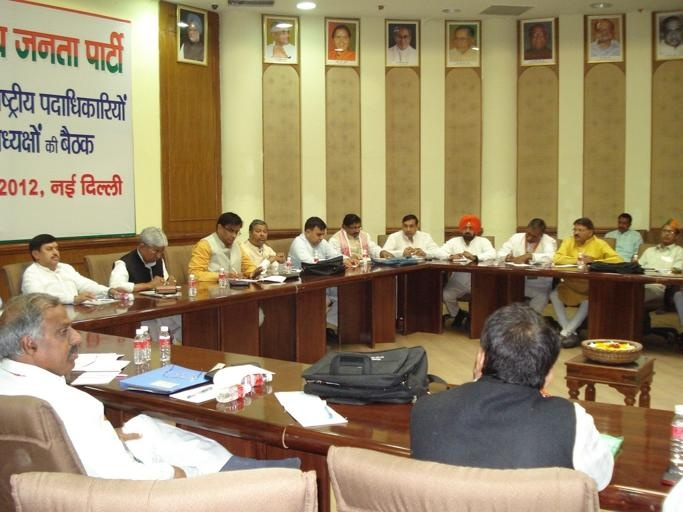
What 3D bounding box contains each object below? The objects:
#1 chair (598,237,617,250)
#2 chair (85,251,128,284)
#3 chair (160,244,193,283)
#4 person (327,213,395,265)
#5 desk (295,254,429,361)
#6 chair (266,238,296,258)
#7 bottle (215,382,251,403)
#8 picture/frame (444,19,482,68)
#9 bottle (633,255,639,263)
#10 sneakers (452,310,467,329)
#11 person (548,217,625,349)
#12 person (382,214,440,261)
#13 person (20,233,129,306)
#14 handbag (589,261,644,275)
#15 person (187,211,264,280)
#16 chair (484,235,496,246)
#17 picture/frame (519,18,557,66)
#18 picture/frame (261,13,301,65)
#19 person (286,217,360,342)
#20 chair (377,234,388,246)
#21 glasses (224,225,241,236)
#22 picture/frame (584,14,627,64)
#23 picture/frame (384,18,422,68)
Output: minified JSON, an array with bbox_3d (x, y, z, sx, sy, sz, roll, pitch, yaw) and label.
[{"bbox_3d":[3.238,-0.148,6.815,0.151,0.213,0.172,4,12,25],"label":"chair"},{"bbox_3d":[-2.096,0.091,4.942,0.267,0.331,0.292,3,4,44],"label":"chair"},{"bbox_3d":[-1.566,0.074,5.330,0.291,0.409,0.333,-2,8,-37],"label":"chair"},{"bbox_3d":[0.149,-0.153,6.765,0.668,0.638,0.913,-1,0,-28],"label":"person"},{"bbox_3d":[0.506,0.511,5.920,0.968,0.714,0.948,-12,-10,-40],"label":"desk"},{"bbox_3d":[-0.714,-0.101,6.519,0.205,0.266,0.216,-6,12,-39],"label":"chair"},{"bbox_3d":[-0.428,0.542,2.223,0.056,0.038,0.105,1,4,36],"label":"bottle"},{"bbox_3d":[1.794,-3.170,8.261,0.656,0.837,0.092,0,3,-1],"label":"picture/frame"},{"bbox_3d":[3.268,0.032,6.226,0.072,0.077,0.069,1,17,9],"label":"bottle"},{"bbox_3d":[1.432,0.772,6.764,0.105,0.134,0.306,-11,11,43],"label":"sneakers"},{"bbox_3d":[2.617,0.311,6.204,0.724,1.444,0.676,2,1,-11],"label":"person"},{"bbox_3d":[0.877,-0.060,7.069,0.726,0.860,0.551,-3,7,-12],"label":"person"},{"bbox_3d":[-2.035,0.211,4.195,0.695,0.737,0.557,-5,2,-6],"label":"person"},{"bbox_3d":[2.669,0.112,5.454,0.490,0.109,0.226,0,7,24],"label":"handbag"},{"bbox_3d":[-1.121,-0.095,5.372,0.723,0.622,0.443,-9,9,-42],"label":"person"},{"bbox_3d":[2.019,-0.208,7.630,0.145,0.255,0.145,2,9,12],"label":"chair"},{"bbox_3d":[2.877,-3.155,8.164,0.666,0.814,0.085,-1,2,3],"label":"picture/frame"},{"bbox_3d":[-0.887,-3.060,7.842,0.700,0.815,0.059,-3,4,-28],"label":"picture/frame"},{"bbox_3d":[-0.272,0.235,6.157,0.631,1.299,0.570,5,6,38],"label":"person"},{"bbox_3d":[0.551,-0.220,7.723,0.145,0.144,0.145,5,8,25],"label":"chair"},{"bbox_3d":[-1.038,-0.244,5.306,0.097,0.099,0.033,12,-9,-21],"label":"glasses"},{"bbox_3d":[3.808,-3.159,8.051,0.681,0.902,0.092,0,2,3],"label":"picture/frame"},{"bbox_3d":[0.872,-3.155,8.220,0.683,0.866,0.062,-2,4,-14],"label":"picture/frame"}]
